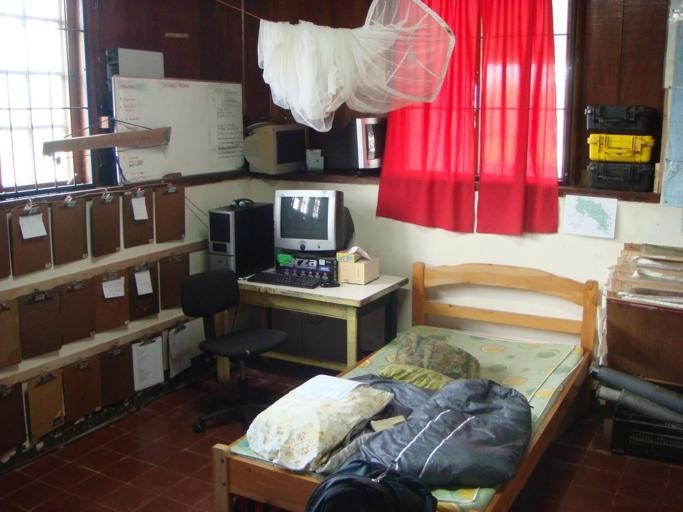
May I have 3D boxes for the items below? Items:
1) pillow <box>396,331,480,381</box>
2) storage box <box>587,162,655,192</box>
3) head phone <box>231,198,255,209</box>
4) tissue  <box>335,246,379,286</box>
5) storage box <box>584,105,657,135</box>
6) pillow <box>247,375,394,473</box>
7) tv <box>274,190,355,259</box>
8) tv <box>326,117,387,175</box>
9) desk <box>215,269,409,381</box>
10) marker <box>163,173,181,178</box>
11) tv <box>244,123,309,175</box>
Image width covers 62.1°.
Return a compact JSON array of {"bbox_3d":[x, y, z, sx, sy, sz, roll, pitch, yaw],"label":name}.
[{"bbox_3d":[0.600,0.634,3.707,0.289,0.184,0.400,-8,20,-37],"label":"pillow"},{"bbox_3d":[1.962,-0.562,3.995,0.420,0.200,0.091,6,16,25],"label":"storage box"},{"bbox_3d":[-0.836,-0.441,4.736,0.112,0.058,0.132,1,1,36],"label":"head phone"},{"bbox_3d":[0.119,0.081,4.568,0.283,0.296,0.284,9,17,33],"label":"tissue "},{"bbox_3d":[1.950,-0.942,3.936,0.467,0.206,0.190,6,17,27],"label":"storage box"},{"bbox_3d":[-0.083,0.840,3.013,0.384,0.158,0.582,9,22,35],"label":"pillow"},{"bbox_3d":[-0.251,-0.267,4.559,0.470,0.417,0.559,1,7,15],"label":"tv"},{"bbox_3d":[0.124,-0.936,4.787,0.420,0.340,0.447,5,17,16],"label":"tv"},{"bbox_3d":[-0.181,0.203,4.389,1.369,0.890,0.904,5,12,27],"label":"desk"},{"bbox_3d":[-1.331,-0.632,4.462,0.014,0.048,0.171,8,18,33],"label":"marker"},{"bbox_3d":[-0.586,-1.000,5.163,0.416,0.515,0.607,15,22,33],"label":"tv"}]
